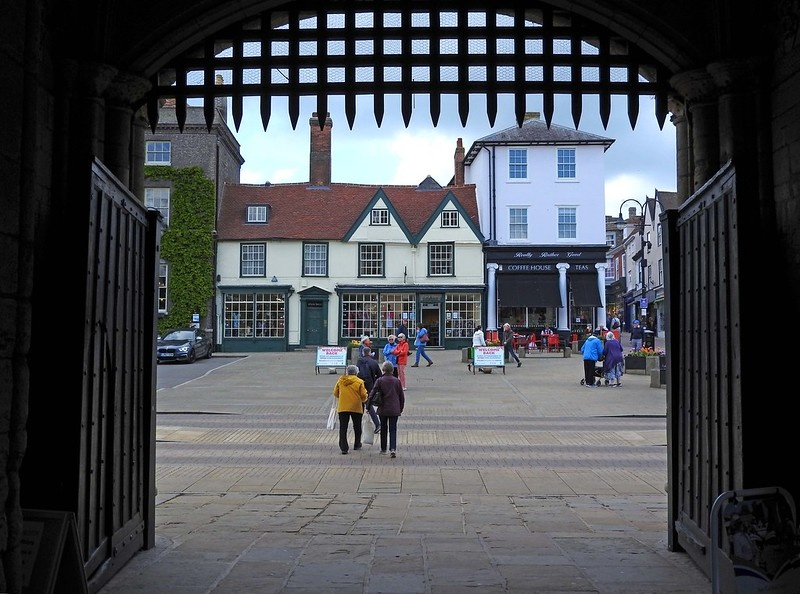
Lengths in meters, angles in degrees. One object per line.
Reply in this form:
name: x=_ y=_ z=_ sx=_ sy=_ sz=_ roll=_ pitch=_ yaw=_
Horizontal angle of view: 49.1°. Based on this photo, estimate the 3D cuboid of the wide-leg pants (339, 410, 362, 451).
wide-leg pants: x=-0.753 y=1.955 z=13.586 sx=0.414 sy=0.916 sz=0.235 roll=-2 pitch=18 yaw=-10

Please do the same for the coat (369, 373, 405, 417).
coat: x=-0.225 y=1.487 z=13.384 sx=0.567 sy=0.651 sz=0.289 roll=-2 pitch=8 yaw=-6

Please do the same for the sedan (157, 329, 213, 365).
sedan: x=-8.170 y=1.796 z=32.749 sx=1.062 sy=1.268 sz=2.808 roll=0 pitch=-3 yaw=9

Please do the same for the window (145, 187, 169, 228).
window: x=-11.139 y=-4.149 z=40.341 sx=1.074 sy=1.808 sz=1.046 roll=1 pitch=-3 yaw=-15

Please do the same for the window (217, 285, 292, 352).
window: x=-7.003 y=1.085 z=41.332 sx=2.908 sy=2.878 sz=0.494 roll=1 pitch=-1 yaw=-2

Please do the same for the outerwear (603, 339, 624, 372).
outerwear: x=5.632 y=1.553 z=23.246 sx=0.484 sy=0.805 sz=0.571 roll=0 pitch=-3 yaw=15

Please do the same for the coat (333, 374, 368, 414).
coat: x=-0.765 y=1.516 z=13.566 sx=0.525 sy=0.599 sz=0.415 roll=-2 pitch=-18 yaw=13

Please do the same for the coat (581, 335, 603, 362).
coat: x=5.057 y=1.346 z=23.023 sx=0.469 sy=0.705 sz=0.717 roll=0 pitch=-3 yaw=17

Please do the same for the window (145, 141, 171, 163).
window: x=-11.157 y=-6.637 z=40.490 sx=1.043 sy=1.199 sz=0.845 roll=1 pitch=-3 yaw=-16

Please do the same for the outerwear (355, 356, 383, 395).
outerwear: x=-0.601 y=1.315 z=15.377 sx=0.449 sy=0.559 sz=0.275 roll=3 pitch=18 yaw=17
